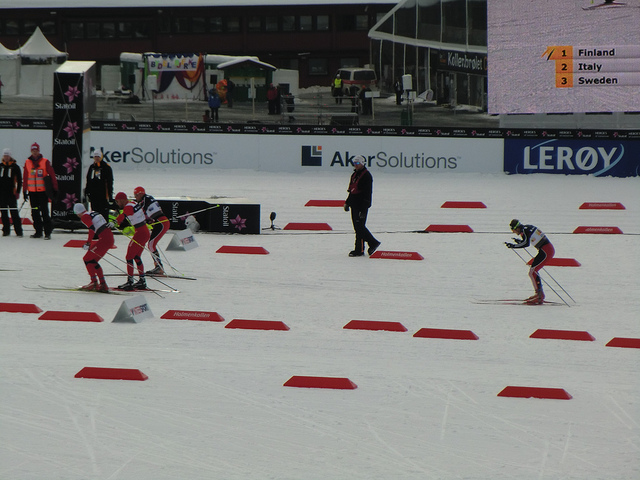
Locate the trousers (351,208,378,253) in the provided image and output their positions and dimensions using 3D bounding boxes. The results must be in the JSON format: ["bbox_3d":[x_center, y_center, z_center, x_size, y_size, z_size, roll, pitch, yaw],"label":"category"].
[{"bbox_3d":[1.030,-0.203,33.294,0.597,1.085,0.478,-1,8,1],"label":"trousers"}]

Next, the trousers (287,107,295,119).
[{"bbox_3d":[-1.021,-4.389,49.369,0.222,0.394,0.334,-2,8,-3],"label":"trousers"}]

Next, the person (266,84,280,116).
[{"bbox_3d":[-1.787,-5.270,54.180,0.425,1.071,0.787,-1,8,-1],"label":"person"}]

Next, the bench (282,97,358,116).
[{"bbox_3d":[-0.006,-4.635,49.389,2.583,0.644,2.353,-1,8,1],"label":"bench"}]

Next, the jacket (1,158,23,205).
[{"bbox_3d":[-7.486,-1.406,34.554,0.530,1.159,0.371,-3,9,-10],"label":"jacket"}]

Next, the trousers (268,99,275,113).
[{"bbox_3d":[-1.863,-5.068,53.953,0.261,0.501,0.195,3,9,26],"label":"trousers"}]

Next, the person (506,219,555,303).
[{"bbox_3d":[4.457,0.414,29.897,1.014,1.637,1.048,-2,17,-3],"label":"person"}]

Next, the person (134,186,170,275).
[{"bbox_3d":[-3.600,-0.232,31.186,0.587,1.958,0.685,-14,25,-39],"label":"person"}]

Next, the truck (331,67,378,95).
[{"bbox_3d":[1.923,-7.299,65.009,1.903,1.483,2.949,-2,12,-21],"label":"truck"}]

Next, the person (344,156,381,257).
[{"bbox_3d":[0.955,-0.764,33.463,0.938,2.362,0.807,0,-3,22],"label":"person"}]

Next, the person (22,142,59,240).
[{"bbox_3d":[-6.918,-1.180,34.502,0.941,2.169,0.953,0,2,1],"label":"person"}]

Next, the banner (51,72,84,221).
[{"bbox_3d":[-6.090,-2.275,35.502,1.191,3.701,1.001,3,6,5],"label":"banner"}]

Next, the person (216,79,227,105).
[{"bbox_3d":[-3.983,-6.036,57.687,0.320,0.777,0.684,-5,0,9],"label":"person"}]

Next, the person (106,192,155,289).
[{"bbox_3d":[-4.057,0.032,30.451,0.746,1.959,1.215,2,3,43],"label":"person"}]

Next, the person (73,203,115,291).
[{"bbox_3d":[-4.798,0.122,29.867,0.796,1.834,0.645,21,26,38],"label":"person"}]
